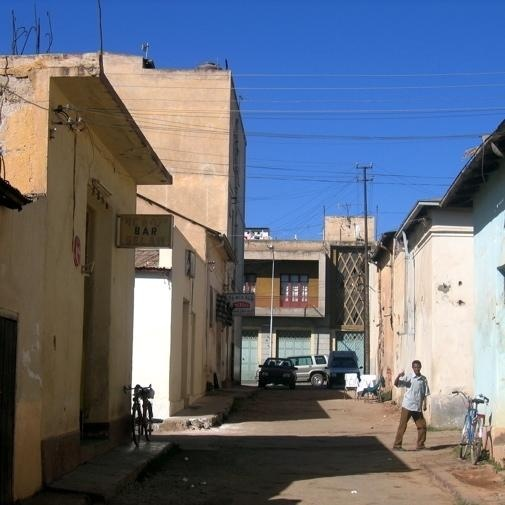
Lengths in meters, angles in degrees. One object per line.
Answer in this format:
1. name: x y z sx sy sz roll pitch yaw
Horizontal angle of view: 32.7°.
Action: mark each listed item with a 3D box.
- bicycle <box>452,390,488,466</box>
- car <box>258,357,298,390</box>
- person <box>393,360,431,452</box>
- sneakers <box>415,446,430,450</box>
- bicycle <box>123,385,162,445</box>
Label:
1. bicycle: 3.490 2.747 13.791 0.591 1.036 1.510 6 2 20
2. car: 1.043 4.943 34.837 1.326 1.237 3.305 1 -1 5
3. person: 2.822 2.678 15.263 0.601 1.582 1.403 0 -8 12
4. sneakers: 2.922 3.358 14.740 0.215 0.076 0.166 2 -9 3
5. bicycle: -1.832 2.690 14.327 0.480 0.901 1.340 -4 -5 6
